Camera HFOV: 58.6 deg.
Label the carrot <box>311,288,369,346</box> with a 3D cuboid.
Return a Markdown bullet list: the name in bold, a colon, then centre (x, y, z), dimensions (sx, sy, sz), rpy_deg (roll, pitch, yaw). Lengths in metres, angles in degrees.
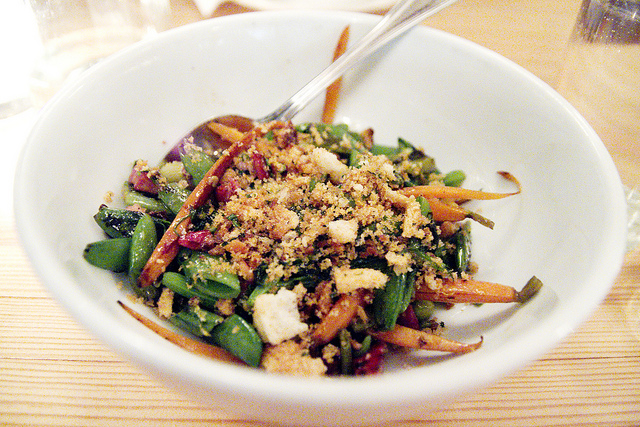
- **carrot**: centre (0.052, 0.247, 1.374), dimensions (0.061, 0.050, 0.177), rpy_deg (40, 70, 13)

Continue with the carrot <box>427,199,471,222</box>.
- **carrot**: centre (0.324, -0.008, 1.480), dimensions (0.121, 0.048, 0.025), rpy_deg (6, 32, -12)

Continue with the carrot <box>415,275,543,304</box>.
- **carrot**: centre (0.382, 0.186, 1.383), dimensions (0.233, 0.054, 0.053), rpy_deg (0, 39, 15)

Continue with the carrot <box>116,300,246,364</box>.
- **carrot**: centre (-0.319, 0.271, 1.286), dimensions (0.247, 0.027, 0.025), rpy_deg (32, 74, -2)

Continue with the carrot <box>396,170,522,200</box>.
- **carrot**: centre (0.356, -0.067, 1.492), dimensions (0.340, 0.016, 0.110), rpy_deg (-3, 58, 0)

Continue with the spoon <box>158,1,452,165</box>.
- **spoon**: centre (-0.039, -0.358, 1.626), dimensions (0.771, 0.153, 0.081), rpy_deg (-31, 23, 11)
